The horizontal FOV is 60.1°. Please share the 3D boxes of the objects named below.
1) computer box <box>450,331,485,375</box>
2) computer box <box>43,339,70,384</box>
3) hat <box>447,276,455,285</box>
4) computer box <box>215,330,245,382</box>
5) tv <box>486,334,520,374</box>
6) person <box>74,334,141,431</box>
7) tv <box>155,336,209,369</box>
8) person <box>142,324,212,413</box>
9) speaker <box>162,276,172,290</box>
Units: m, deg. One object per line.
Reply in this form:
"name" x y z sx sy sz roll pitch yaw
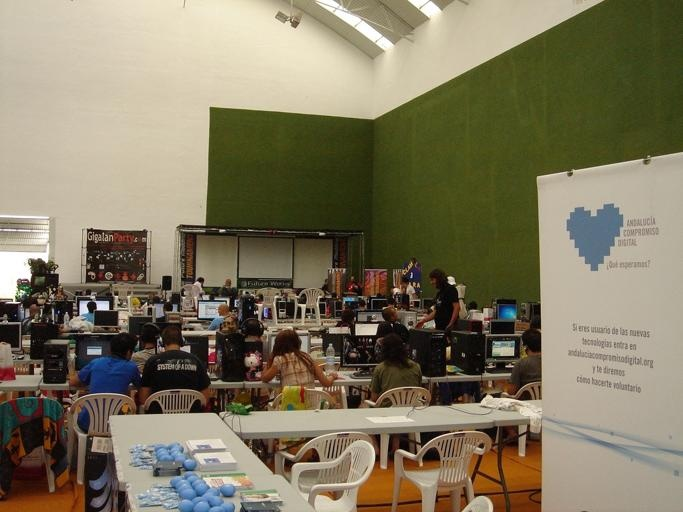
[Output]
"computer box" 1.517 1.166 7.159 0.243 0.465 0.469 1 -2 -20
"computer box" -2.865 1.063 6.129 0.236 0.447 0.492 2 5 -3
"hat" 2.419 0.557 13.089 0.192 0.159 0.285 1 -5 -7
"computer box" -1.241 1.093 6.424 0.321 0.607 0.576 -3 1 -15
"tv" 2.057 1.233 7.528 0.433 0.452 0.347 -2 10 4
"person" -2.260 1.373 5.742 0.587 1.215 0.589 6 0 -9
"tv" -1.769 1.124 6.711 0.465 0.490 0.352 4 -2 -34
"person" -1.597 1.054 5.735 0.713 1.256 0.645 -1 -7 -12
"speaker" -5.292 0.847 17.935 0.327 0.508 0.247 2 -4 -12
